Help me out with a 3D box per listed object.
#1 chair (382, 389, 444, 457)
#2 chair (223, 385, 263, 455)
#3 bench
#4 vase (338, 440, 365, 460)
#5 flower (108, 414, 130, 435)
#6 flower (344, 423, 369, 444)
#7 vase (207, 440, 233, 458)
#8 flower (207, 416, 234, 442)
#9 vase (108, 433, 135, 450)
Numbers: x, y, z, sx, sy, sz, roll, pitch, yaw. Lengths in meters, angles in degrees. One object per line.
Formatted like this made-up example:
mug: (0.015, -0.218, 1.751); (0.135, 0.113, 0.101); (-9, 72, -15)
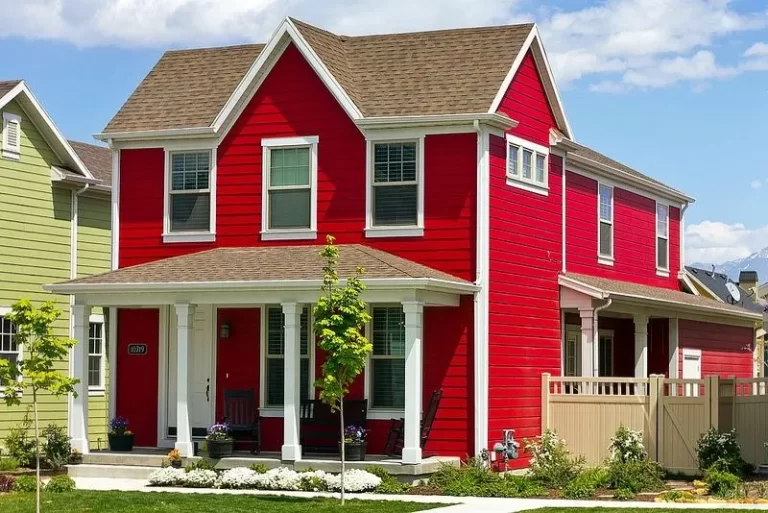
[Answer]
chair: (0.681, 4.102, 30.119); (1.609, 1.667, 1.172); (-6, -13, 19)
chair: (-3.708, 4.216, 31.257); (0.934, 1.741, 1.166); (0, -12, -7)
bench: (-1.246, 4.243, 30.305); (2.199, 1.385, 0.739); (-1, -5, 13)
vase: (-0.759, 4.681, 29.242); (0.496, 0.277, 0.454); (2, -4, -28)
flower: (-7.048, 4.445, 32.034); (0.567, 0.469, 0.488); (-1, -3, 39)
flower: (-0.721, 4.363, 29.778); (0.539, 0.318, 0.443); (1, -12, -3)
vase: (-4.078, 4.737, 29.994); (0.519, 0.288, 0.502); (1, 0, 1)
flower: (-4.161, 4.357, 30.220); (0.603, 0.369, 0.592); (4, -9, -33)
vase: (-6.948, 4.843, 31.723); (0.584, 0.322, 0.443); (0, -5, 5)
